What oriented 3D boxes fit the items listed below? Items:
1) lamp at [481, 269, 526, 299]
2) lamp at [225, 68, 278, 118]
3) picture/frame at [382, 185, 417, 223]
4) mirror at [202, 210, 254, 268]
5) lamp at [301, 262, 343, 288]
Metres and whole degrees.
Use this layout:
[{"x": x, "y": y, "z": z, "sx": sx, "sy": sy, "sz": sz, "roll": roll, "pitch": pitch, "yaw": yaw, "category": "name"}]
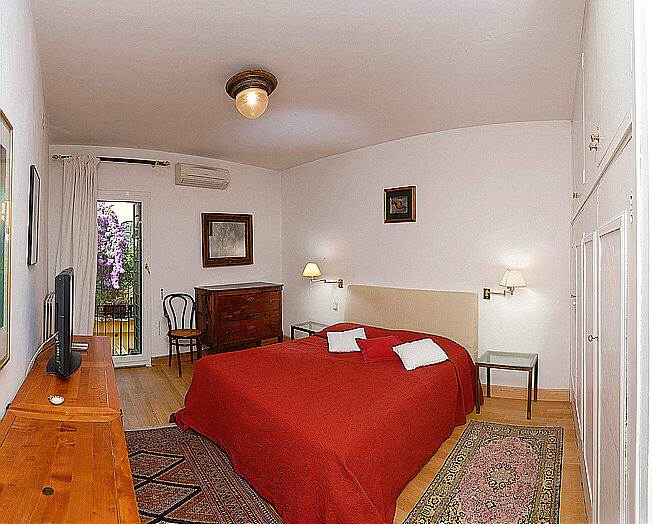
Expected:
[{"x": 1.781, "y": 0.221, "z": 4.303, "sx": 0.221, "sy": 0.283, "sz": 0.342, "roll": 3, "pitch": -6, "yaw": -22, "category": "lamp"}, {"x": -0.590, "y": -1.243, "z": 3.347, "sx": 0.328, "sy": 0.232, "sz": 0.339, "roll": 2, "pitch": -17, "yaw": -15, "category": "lamp"}, {"x": 0.883, "y": -0.692, "z": 5.080, "sx": 0.451, "sy": 0.472, "sz": 0.055, "roll": 2, "pitch": 3, "yaw": 44, "category": "picture/frame"}, {"x": -1.447, "y": -0.344, "z": 6.163, "sx": 0.792, "sy": 0.821, "sz": 0.062, "roll": -2, "pitch": 2, "yaw": -38, "category": "mirror"}, {"x": -0.069, "y": 0.179, "z": 5.921, "sx": 0.598, "sy": 0.344, "sz": 0.278, "roll": 6, "pitch": -6, "yaw": -42, "category": "lamp"}]
